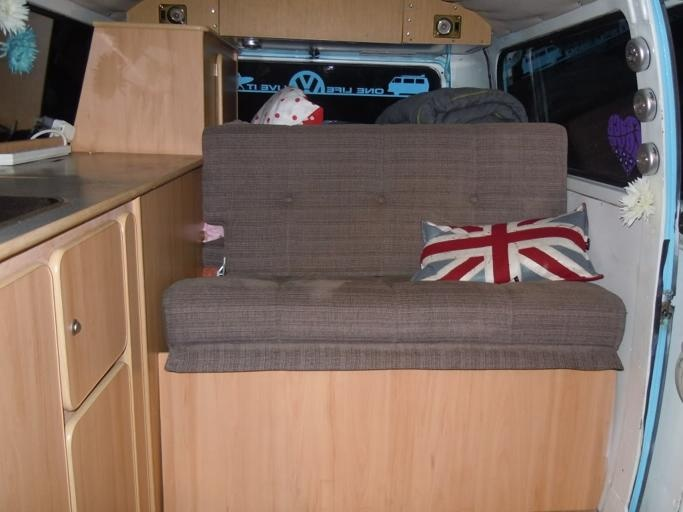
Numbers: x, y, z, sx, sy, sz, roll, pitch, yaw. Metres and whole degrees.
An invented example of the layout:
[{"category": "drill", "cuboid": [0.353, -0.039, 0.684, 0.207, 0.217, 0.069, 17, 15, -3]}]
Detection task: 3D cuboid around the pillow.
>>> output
[{"category": "pillow", "cuboid": [0.593, -0.016, 2.174, 0.533, 0.103, 0.328, -4, 38, 16]}]
